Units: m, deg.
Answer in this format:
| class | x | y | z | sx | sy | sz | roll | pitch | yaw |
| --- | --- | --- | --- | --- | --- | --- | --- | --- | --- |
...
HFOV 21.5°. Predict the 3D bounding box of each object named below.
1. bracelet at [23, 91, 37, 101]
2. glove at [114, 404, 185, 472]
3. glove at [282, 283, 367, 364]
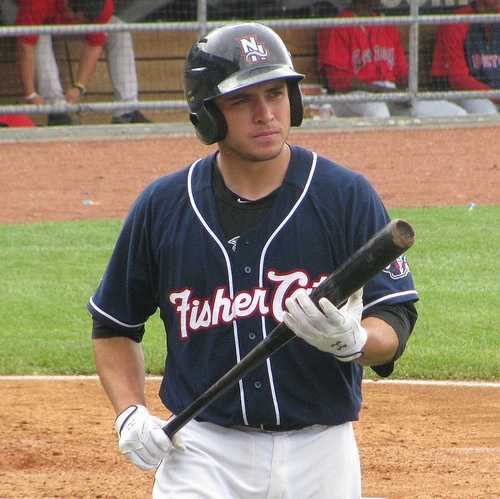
| class | x | y | z | sx | sy | sz | roll | pitch | yaw |
| --- | --- | --- | --- | --- | --- | --- | --- | --- | --- |
| bracelet | -1.936 | -1.335 | 11.710 | 0.105 | 0.089 | 0.148 | -3 | 6 | -11 |
| glove | -0.540 | 0.945 | 6.961 | 0.332 | 0.279 | 0.156 | 40 | 28 | 14 |
| glove | 0.410 | 0.351 | 6.656 | 0.320 | 0.408 | 0.212 | -45 | -11 | 21 |
